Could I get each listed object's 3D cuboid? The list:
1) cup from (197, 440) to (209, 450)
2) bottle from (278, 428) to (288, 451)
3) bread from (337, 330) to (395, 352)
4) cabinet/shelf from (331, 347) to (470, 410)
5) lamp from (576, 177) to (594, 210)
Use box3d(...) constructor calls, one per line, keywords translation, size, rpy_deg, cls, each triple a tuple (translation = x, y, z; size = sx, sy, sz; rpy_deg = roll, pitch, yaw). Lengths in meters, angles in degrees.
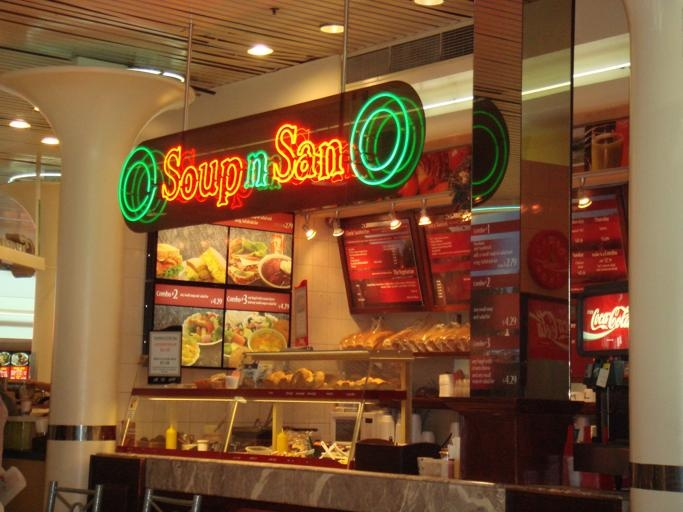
box3d(translation=(-1.028, 1.401, 4.569), size=(0.081, 0.085, 0.082), rpy_deg=(0, -14, 0), cls="cup")
box3d(translation=(-0.408, 1.279, 4.273), size=(0.093, 0.140, 0.032), rpy_deg=(-8, -9, 34), cls="bottle")
box3d(translation=(0.291, 0.941, 6.856), size=(0.477, 0.177, 0.538), rpy_deg=(-5, 3, 7), cls="bread")
box3d(translation=(0.467, 0.922, 4.673), size=(1.020, 0.249, 0.988), rpy_deg=(-1, -4, 42), cls="cabinet/shelf")
box3d(translation=(2.132, -0.553, 5.467), size=(0.124, 0.255, 0.430), rpy_deg=(-6, -9, 23), cls="lamp")
